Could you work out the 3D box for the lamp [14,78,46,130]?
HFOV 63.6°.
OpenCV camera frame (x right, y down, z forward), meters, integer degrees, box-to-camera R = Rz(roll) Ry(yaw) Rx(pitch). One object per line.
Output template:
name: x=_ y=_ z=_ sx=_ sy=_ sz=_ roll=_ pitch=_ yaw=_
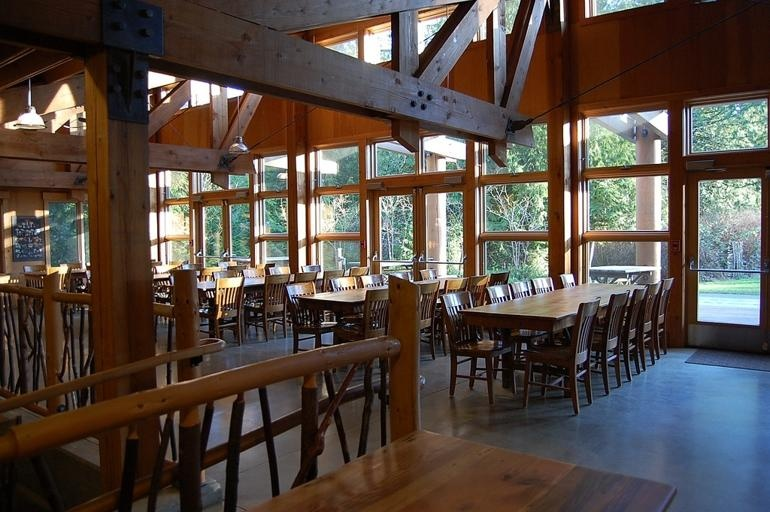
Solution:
lamp: x=-4.501 y=-1.940 z=7.779 sx=0.312 sy=0.616 sz=0.682 roll=-6 pitch=10 yaw=-29
